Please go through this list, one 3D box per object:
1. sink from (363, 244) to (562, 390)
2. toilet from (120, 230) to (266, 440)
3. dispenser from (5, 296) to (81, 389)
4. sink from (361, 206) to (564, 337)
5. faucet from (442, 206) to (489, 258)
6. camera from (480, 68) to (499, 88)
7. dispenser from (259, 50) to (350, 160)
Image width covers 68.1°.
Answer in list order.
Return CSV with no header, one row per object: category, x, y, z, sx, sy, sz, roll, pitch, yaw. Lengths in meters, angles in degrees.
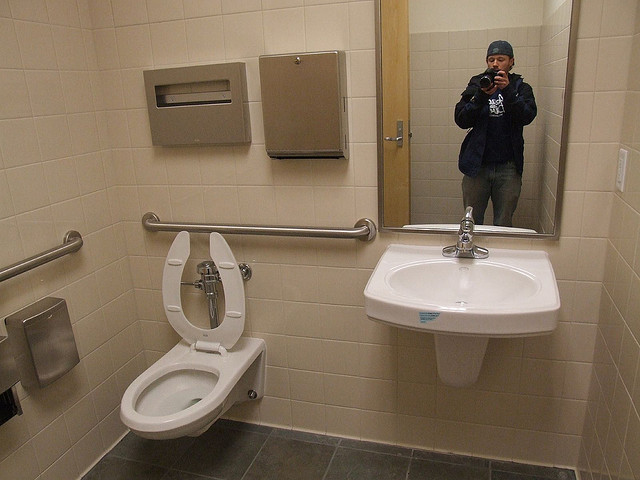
sink,0.549,0.233,1.875,0.606,0.545,0.541,3,30,14
toilet,-0.641,0.503,2.138,0.383,1.019,0.673,4,17,22
dispenser,-1.152,0.435,1.984,0.103,0.345,0.230,10,17,13
sink,0.546,0.178,1.792,0.635,0.408,0.543,3,35,18
faucet,0.596,-0.040,1.939,0.165,0.209,0.136,-1,34,12
camera,0.667,-0.635,1.864,0.053,0.060,0.061,-3,38,37
dispenser,-0.062,-0.563,2.042,0.339,0.470,0.147,1,17,16
